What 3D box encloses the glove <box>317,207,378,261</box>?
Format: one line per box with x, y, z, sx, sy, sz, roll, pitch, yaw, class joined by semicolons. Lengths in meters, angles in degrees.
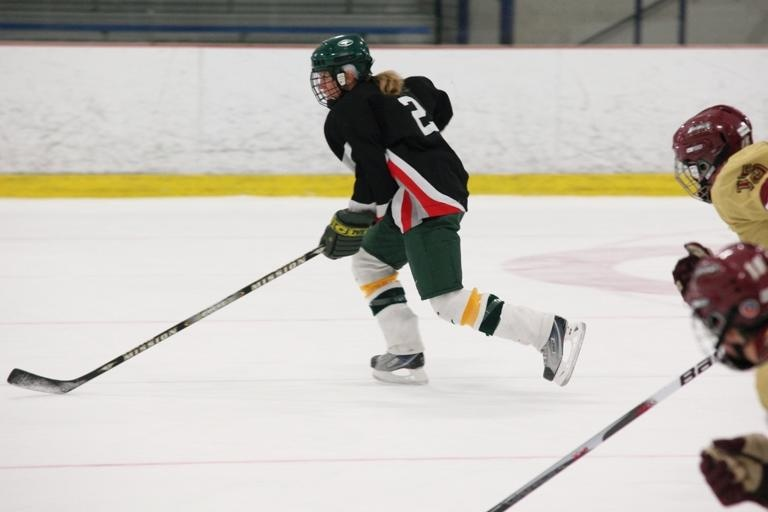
-0.166;-0.095;3.889;0.172;0.282;0.109;24;39;-26;glove

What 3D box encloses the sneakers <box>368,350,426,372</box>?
0.060;0.467;3.913;0.197;0.073;0.100;1;-3;6;sneakers

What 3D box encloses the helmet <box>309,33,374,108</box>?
-0.188;-0.828;3.882;0.349;0.287;0.243;-9;19;11;helmet

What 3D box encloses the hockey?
-1.018;0.277;4.700;1.485;0.297;0.126;-27;57;-10;hockey

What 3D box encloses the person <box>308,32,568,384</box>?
0.171;-0.201;3.819;1.139;1.515;0.486;12;18;41;person

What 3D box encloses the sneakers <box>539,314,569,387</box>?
0.716;0.411;3.761;0.144;0.297;0.106;15;-13;-2;sneakers
